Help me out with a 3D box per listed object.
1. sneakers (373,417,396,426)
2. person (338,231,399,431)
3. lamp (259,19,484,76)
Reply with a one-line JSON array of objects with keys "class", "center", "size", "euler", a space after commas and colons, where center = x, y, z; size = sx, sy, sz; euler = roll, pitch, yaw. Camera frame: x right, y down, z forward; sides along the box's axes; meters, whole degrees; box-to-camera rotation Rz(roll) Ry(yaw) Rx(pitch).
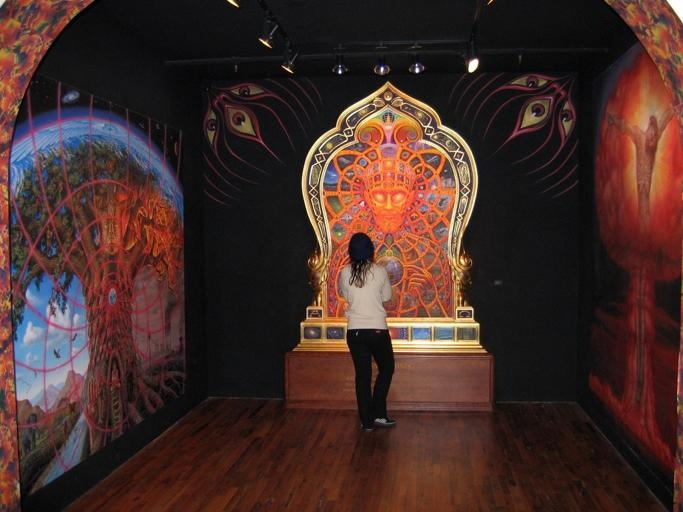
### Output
[{"class": "sneakers", "center": [0.410, 1.604, 4.664], "size": [0.211, 0.097, 0.085], "euler": [-1, 0, 0]}, {"class": "person", "center": [0.233, 0.708, 4.613], "size": [0.517, 1.858, 0.353], "euler": [-1, 4, -1]}, {"class": "lamp", "center": [0.229, -1.869, 4.628], "size": [1.920, 0.417, 1.399], "euler": [-1, 4, -1]}]
